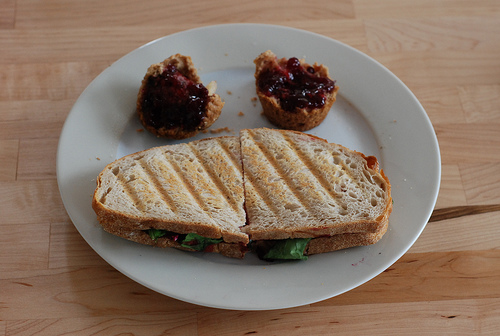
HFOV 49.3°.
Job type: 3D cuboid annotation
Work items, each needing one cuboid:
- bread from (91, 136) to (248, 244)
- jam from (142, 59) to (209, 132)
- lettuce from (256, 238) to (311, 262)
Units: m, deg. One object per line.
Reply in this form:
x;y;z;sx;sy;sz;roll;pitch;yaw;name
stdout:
-0.678;0.181;4.615;1.173;0.272;0.740;1;63;-5;bread
-0.700;-0.591;4.854;0.585;0.167;0.622;-42;85;-5;jam
0.275;0.678;4.524;0.428;0.096;0.173;-4;83;-1;lettuce
